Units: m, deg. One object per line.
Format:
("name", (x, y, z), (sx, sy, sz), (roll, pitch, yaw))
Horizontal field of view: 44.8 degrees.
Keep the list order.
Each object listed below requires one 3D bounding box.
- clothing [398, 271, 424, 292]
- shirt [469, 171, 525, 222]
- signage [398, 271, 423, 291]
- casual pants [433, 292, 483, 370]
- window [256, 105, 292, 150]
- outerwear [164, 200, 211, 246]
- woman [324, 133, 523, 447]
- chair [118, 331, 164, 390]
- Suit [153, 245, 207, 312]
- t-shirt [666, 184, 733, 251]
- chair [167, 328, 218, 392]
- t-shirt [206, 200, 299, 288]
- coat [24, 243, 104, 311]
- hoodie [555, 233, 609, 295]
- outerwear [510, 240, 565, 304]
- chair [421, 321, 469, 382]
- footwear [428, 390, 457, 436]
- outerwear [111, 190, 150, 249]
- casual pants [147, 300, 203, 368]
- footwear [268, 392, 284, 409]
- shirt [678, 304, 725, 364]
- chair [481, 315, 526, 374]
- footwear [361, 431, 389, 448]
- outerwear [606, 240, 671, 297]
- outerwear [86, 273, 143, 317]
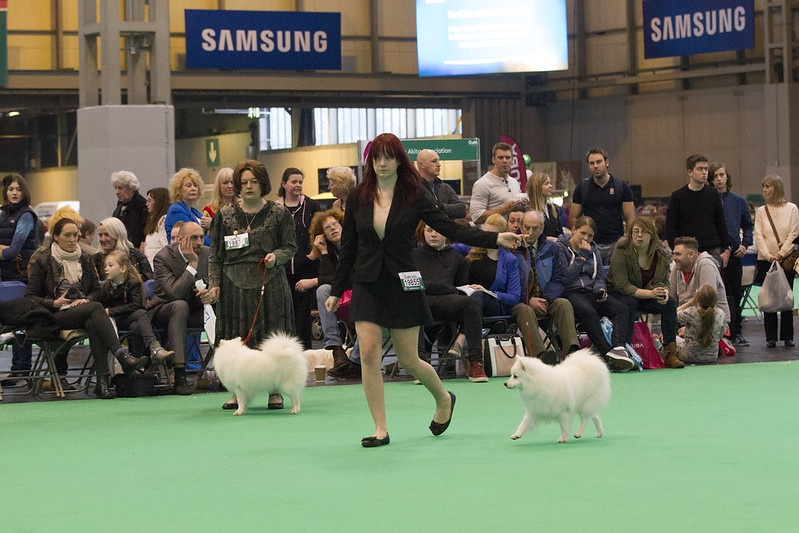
("clothing", (0.060, 0.127, 7.739), (0.159, 0.126, 0.021), (-2, -24, -35))
("shirt", (1.172, -0.850, 11.794), (0.793, 0.678, 0.438), (-5, 9, -36))
("signage", (0.057, 0.121, 7.736), (0.156, 0.125, 0.021), (-1, -25, -35))
("casual pants", (0.665, 0.650, 10.789), (0.643, 0.730, 0.618), (16, -6, -26))
("window", (-3.278, -3.893, 26.847), (0.099, 1.495, 1.154), (-4, 7, -39))
("outerwear", (-2.405, -0.482, 10.907), (0.323, 0.627, 0.458), (-9, 6, 8))
("woman", (0.158, 0.192, 7.990), (1.441, 2.556, 0.861), (0, 2, 5))
("chair", (-2.865, 1.059, 10.394), (0.270, 0.629, 0.856), (-5, -11, 14))
("Suit", (-2.391, 0.095, 10.311), (0.547, 0.733, 0.622), (0, -2, -35))
("t-shirt", (3.733, -0.627, 12.448), (0.727, 0.884, 0.446), (-1, 5, 7))
("chair", (-2.284, 1.150, 10.565), (0.459, 0.591, 0.320), (-7, -4, -31))
("t-shirt", (-1.434, -0.145, 9.311), (0.787, 0.943, 0.513), (-1, -2, -8))
("coat", (-3.528, 0.182, 10.421), (0.829, 0.836, 0.491), (-6, -8, -40))
("hoodie", (2.019, 0.057, 11.423), (0.574, 0.823, 0.583), (2, -1, -21))
("outerwear", (1.480, 0.073, 10.882), (0.623, 0.784, 0.426), (-1, -3, -10))
("chair", (0.439, 0.979, 11.118), (0.481, 0.946, 0.644), (-4, -7, 35))
("footwear", (0.338, 1.313, 8.187), (0.147, 0.465, 0.111), (14, 8, 21))
("outerwear", (-3.198, -0.568, 11.740), (0.697, 0.699, 0.319), (-1, 2, 39))
("casual pants", (-2.329, 0.728, 10.124), (0.588, 0.841, 0.613), (-4, -6, 16))
("footwear", (-1.200, 1.304, 9.328), (0.140, 0.162, 0.384), (0, -7, -3))
("shirt", (3.613, 0.845, 11.939), (0.642, 0.758, 0.554), (2, 10, -4))
("chair", (1.135, 1.010, 10.916), (0.471, 0.511, 0.269), (-5, -5, -23))
("footwear", (-0.226, 1.427, 7.854), (0.187, 0.082, 0.102), (5, -11, -33))
("outerwear", (2.793, 0.046, 11.496), (0.660, 0.726, 0.609), (2, -5, -22))
("outerwear", (-2.980, 0.307, 10.229), (0.513, 0.549, 0.375), (-2, -6, 0))
